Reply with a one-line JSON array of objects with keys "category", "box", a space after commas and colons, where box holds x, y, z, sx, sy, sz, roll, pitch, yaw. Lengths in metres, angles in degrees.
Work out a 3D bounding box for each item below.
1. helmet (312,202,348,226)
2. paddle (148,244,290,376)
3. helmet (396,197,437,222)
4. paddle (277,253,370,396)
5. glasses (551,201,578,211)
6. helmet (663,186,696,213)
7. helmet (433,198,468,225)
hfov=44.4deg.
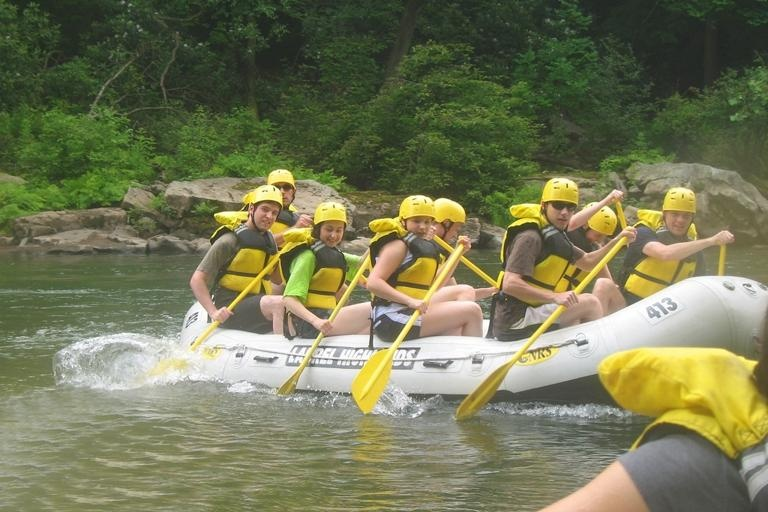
[{"category": "helmet", "box": [-0.848, -0.611, 14.129, 0.374, 0.301, 0.447, 4, -25, -8]}, {"category": "paddle", "box": [-2.632, 0.931, 15.077, 0.410, 2.862, 0.253, 49, 3, 32]}, {"category": "helmet", "box": [0.444, -0.712, 13.872, 0.394, 0.244, 0.443, -3, 4, -41]}, {"category": "paddle", "box": [-0.938, 1.068, 13.959, 0.292, 2.493, 0.128, 36, -1, 30]}, {"category": "glasses", "box": [2.612, -0.720, 13.552, 0.383, 0.113, 0.137, 2, 10, -22]}, {"category": "helmet", "box": [4.549, -0.810, 14.456, 0.429, 0.359, 0.487, 7, -22, 15]}, {"category": "helmet", "box": [0.998, -0.678, 14.295, 0.495, 0.240, 0.327, 6, 12, -9]}]
